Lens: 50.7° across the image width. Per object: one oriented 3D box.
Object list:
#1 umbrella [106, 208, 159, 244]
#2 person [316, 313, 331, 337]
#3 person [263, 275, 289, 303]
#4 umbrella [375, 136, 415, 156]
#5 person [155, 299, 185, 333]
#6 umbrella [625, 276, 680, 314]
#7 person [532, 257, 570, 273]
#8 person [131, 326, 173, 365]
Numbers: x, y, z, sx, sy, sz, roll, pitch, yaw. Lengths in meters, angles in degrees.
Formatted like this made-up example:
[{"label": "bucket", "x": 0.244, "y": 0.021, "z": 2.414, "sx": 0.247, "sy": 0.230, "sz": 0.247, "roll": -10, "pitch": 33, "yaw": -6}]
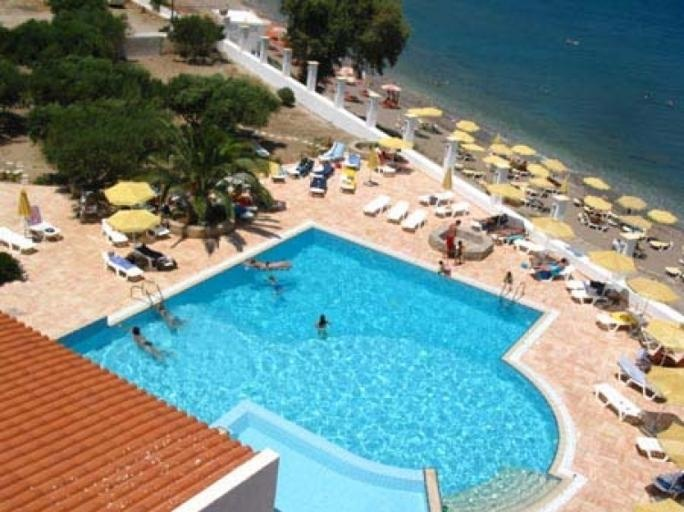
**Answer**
[{"label": "umbrella", "x": -7.469, "y": -0.923, "z": 26.108, "sx": 1.678, "sy": 1.254, "sz": 1.099, "roll": 5, "pitch": 34, "yaw": -13}, {"label": "person", "x": -0.573, "y": 2.222, "z": 24.893, "sx": 0.464, "sy": 0.784, "sz": 0.911, "roll": 11, "pitch": 34, "yaw": -2}, {"label": "person", "x": -2.308, "y": 1.239, "z": 26.452, "sx": 0.608, "sy": 0.273, "sz": 0.989, "roll": 5, "pitch": 46, "yaw": -29}, {"label": "umbrella", "x": 2.523, "y": -5.285, "z": 33.963, "sx": 1.171, "sy": 0.458, "sz": 1.169, "roll": -11, "pitch": 25, "yaw": -33}, {"label": "person", "x": -5.820, "y": 2.089, "z": 24.528, "sx": 0.239, "sy": 0.503, "sz": 0.900, "roll": -37, "pitch": 90, "yaw": -8}, {"label": "umbrella", "x": 10.597, "y": 1.216, "z": 24.819, "sx": 1.571, "sy": 0.496, "sz": 0.912, "roll": 16, "pitch": 34, "yaw": 2}, {"label": "person", "x": 8.047, "y": 0.418, "z": 27.841, "sx": 1.101, "sy": 0.437, "sz": 0.645, "roll": -2, "pitch": 21, "yaw": 1}, {"label": "person", "x": -6.392, "y": 2.794, "z": 23.917, "sx": 0.583, "sy": 0.701, "sz": 1.736, "roll": 39, "pitch": 8, "yaw": 34}]
